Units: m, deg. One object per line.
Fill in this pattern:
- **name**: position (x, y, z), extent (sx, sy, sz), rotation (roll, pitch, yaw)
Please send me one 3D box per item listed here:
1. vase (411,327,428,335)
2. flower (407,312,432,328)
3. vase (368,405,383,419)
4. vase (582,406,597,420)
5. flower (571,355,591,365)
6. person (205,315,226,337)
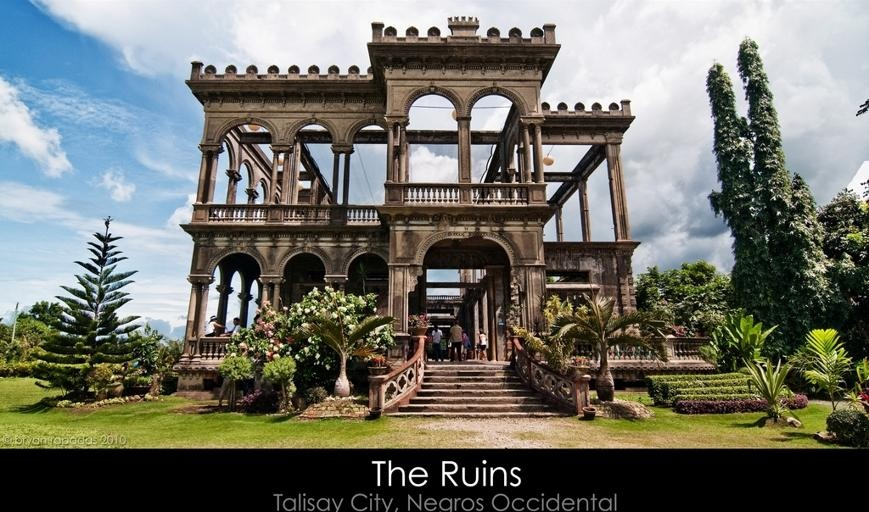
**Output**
- **vase**: position (-0.639, 3.301, 25.782), extent (0.568, 0.336, 0.491), rotation (0, -9, 7)
- **flower**: position (-0.526, 2.983, 26.480), extent (1.263, 0.799, 1.218), rotation (1, -9, -9)
- **vase**: position (-2.267, 6.103, 23.024), extent (0.562, 0.447, 0.290), rotation (2, -10, -6)
- **vase**: position (6.026, 6.002, 22.650), extent (0.461, 0.276, 0.455), rotation (-1, 2, 29)
- **flower**: position (6.422, 4.531, 25.619), extent (0.898, 0.560, 0.850), rotation (1, -9, -3)
- **person**: position (-11.061, 3.584, 29.975), extent (0.840, 0.991, 2.874), rotation (5, -10, -20)
